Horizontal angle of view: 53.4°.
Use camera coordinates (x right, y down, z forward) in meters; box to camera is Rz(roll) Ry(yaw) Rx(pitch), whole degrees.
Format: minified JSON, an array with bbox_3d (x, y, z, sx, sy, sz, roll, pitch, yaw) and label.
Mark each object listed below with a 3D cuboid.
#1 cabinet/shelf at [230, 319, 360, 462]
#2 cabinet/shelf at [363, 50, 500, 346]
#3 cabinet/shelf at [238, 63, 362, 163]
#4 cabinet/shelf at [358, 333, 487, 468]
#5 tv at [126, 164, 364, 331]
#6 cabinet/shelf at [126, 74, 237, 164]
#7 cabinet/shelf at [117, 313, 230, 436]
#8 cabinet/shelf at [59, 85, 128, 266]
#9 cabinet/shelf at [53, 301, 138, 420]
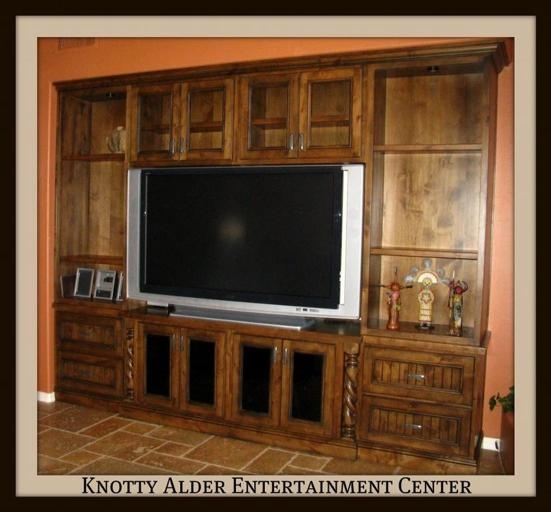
[{"bbox_3d":[0.086,0.816,3.505,0.822,0.719,0.312,5,4,22],"label":"cabinet/shelf"},{"bbox_3d":[0.933,-0.333,3.281,0.686,1.574,0.526,3,6,24],"label":"cabinet/shelf"},{"bbox_3d":[0.151,-0.862,3.453,0.748,0.560,0.279,-1,4,5],"label":"cabinet/shelf"},{"bbox_3d":[0.876,0.844,3.312,0.712,0.687,0.431,2,-2,25],"label":"cabinet/shelf"},{"bbox_3d":[-0.137,-0.061,3.498,1.127,0.695,0.119,3,2,19],"label":"tv"},{"bbox_3d":[-0.635,-0.907,3.774,0.697,0.481,0.240,-1,8,3],"label":"cabinet/shelf"},{"bbox_3d":[-0.599,0.770,3.769,0.810,0.691,0.291,3,3,24],"label":"cabinet/shelf"},{"bbox_3d":[-1.408,-0.598,4.227,0.369,1.257,0.433,2,6,15],"label":"cabinet/shelf"},{"bbox_3d":[-1.268,0.751,3.954,0.786,0.768,0.431,1,-1,20],"label":"cabinet/shelf"}]
